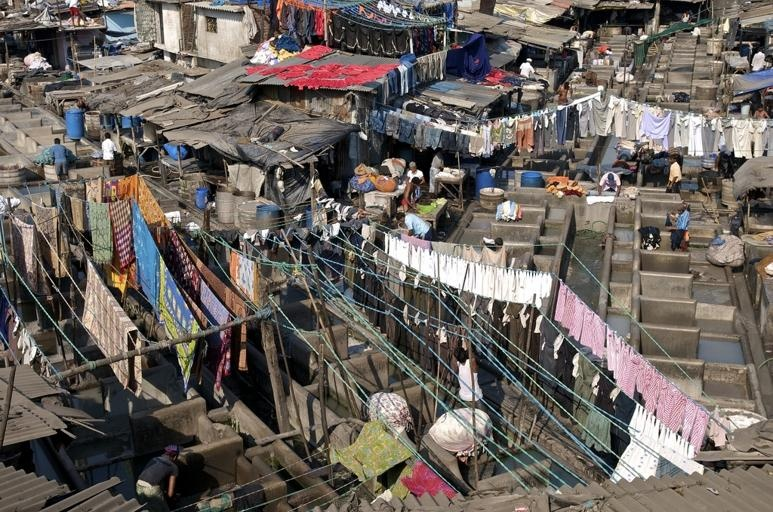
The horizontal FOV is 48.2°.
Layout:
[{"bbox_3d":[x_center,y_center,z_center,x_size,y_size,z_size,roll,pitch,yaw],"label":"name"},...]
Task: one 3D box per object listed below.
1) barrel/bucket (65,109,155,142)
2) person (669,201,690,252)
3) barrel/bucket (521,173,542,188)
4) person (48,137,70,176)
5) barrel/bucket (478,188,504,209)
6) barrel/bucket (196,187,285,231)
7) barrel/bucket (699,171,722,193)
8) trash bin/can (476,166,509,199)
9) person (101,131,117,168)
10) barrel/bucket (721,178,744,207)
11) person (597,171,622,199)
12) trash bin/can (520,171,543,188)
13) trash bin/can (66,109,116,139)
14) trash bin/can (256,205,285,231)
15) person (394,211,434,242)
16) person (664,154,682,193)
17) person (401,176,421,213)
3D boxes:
[{"bbox_3d":[-10.196,-4.822,31.927,3.055,0.812,0.748,19,27,36],"label":"barrel/bucket"},{"bbox_3d":[8.216,-0.821,24.168,0.444,0.983,1.978,9,23,18],"label":"person"},{"bbox_3d":[4.571,-2.400,27.268,0.467,0.570,0.509,0,10,0],"label":"barrel/bucket"},{"bbox_3d":[-11.371,-3.366,29.919,0.604,1.141,1.707,-6,23,-21],"label":"person"},{"bbox_3d":[3.218,-1.744,26.525,0.758,0.593,0.462,6,21,6],"label":"barrel/bucket"},{"bbox_3d":[-4.180,-1.130,25.081,1.741,0.757,1.332,7,22,17],"label":"barrel/bucket"},{"bbox_3d":[10.197,-2.350,27.351,0.667,0.495,0.802,8,22,12],"label":"barrel/bucket"},{"bbox_3d":[3.326,-2.420,27.900,0.789,1.272,1.157,-7,17,-20],"label":"trash bin/can"},{"bbox_3d":[-10.011,-3.832,31.075,0.578,1.007,1.733,-4,23,-18],"label":"person"},{"bbox_3d":[10.192,-1.859,25.401,0.582,0.740,0.628,-3,21,1],"label":"barrel/bucket"},{"bbox_3d":[6.906,-2.293,26.793,0.552,0.806,1.102,4,-13,27],"label":"person"},{"bbox_3d":[4.588,-2.419,27.390,0.502,0.613,0.547,0,10,-1],"label":"trash bin/can"},{"bbox_3d":[-11.374,-5.049,33.098,1.566,1.160,1.025,2,24,-2],"label":"trash bin/can"},{"bbox_3d":[-3.316,-1.112,24.378,0.616,0.532,0.657,2,8,24],"label":"trash bin/can"},{"bbox_3d":[0.810,-0.838,24.105,0.881,0.737,1.430,3,22,-1],"label":"person"},{"bbox_3d":[9.004,-2.589,27.146,0.396,1.222,0.543,10,47,28],"label":"person"},{"bbox_3d":[0.711,-1.856,25.945,0.537,0.741,1.303,3,22,1],"label":"person"}]
